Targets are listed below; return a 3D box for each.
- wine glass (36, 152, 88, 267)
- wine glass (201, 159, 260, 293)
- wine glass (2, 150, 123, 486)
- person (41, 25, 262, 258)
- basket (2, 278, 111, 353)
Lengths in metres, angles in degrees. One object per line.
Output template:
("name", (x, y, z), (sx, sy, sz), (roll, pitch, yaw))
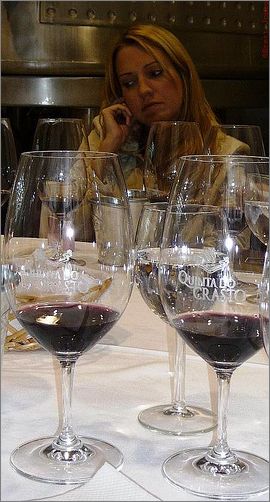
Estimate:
("wine glass", (-0.038, -0.024, 0.204), (0.026, 0.060, 0.021), (2, -6, 6))
("wine glass", (0.046, -0.013, 0.186), (0.033, 0.067, 0.018), (-2, -7, 40))
("wine glass", (-0.038, 0.033, 0.243), (0.072, 0.166, 0.143), (2, -6, 3))
("person", (0.105, -0.295, 1.576), (0.680, 1.088, 0.527), (1, 0, -3))
("basket", (-0.089, 0.047, 0.420), (0.095, 0.073, 0.084), (1, 3, 33))
